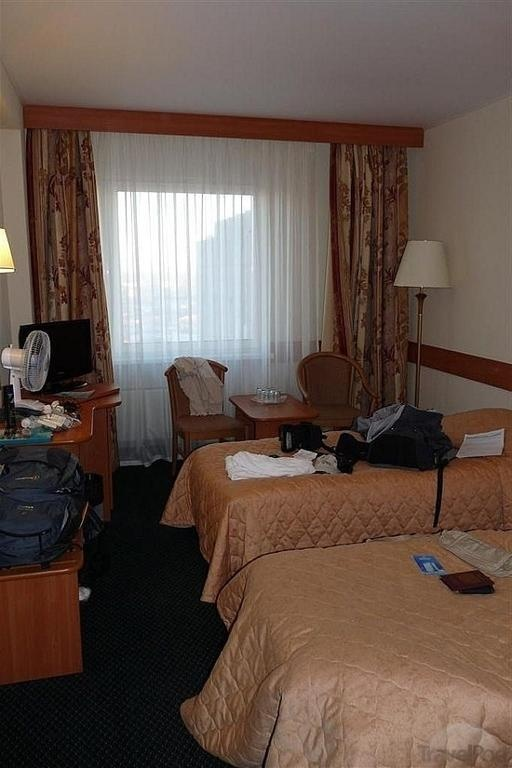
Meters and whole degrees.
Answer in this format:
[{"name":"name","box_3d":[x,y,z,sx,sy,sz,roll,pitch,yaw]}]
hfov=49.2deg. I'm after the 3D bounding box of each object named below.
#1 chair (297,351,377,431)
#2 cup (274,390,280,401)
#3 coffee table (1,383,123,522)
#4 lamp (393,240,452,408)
[{"name":"chair","box_3d":[0.687,0.035,4.993,0.648,0.971,0.707,-2,7,-13]},{"name":"cup","box_3d":[0.172,0.092,4.495,0.040,0.075,0.071,0,2,2]},{"name":"coffee table","box_3d":[-1.103,0.440,3.564,0.669,0.647,1.267,-2,22,-11]},{"name":"lamp","box_3d":[1.405,-0.499,4.808,0.443,1.482,0.740,4,8,19]}]
